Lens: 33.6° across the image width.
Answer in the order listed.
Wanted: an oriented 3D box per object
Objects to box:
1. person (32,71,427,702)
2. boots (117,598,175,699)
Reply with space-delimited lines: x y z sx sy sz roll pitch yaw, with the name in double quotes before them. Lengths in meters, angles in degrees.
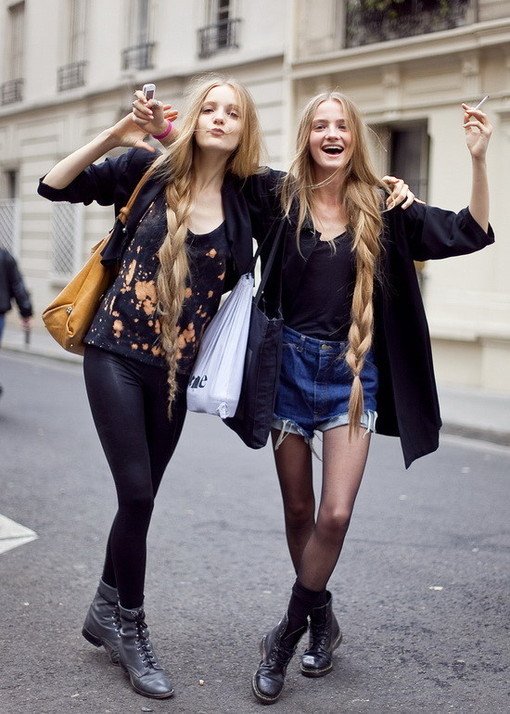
"person" -0.371 0.056 2.620 0.664 1.869 0.433 4 4 7
"boots" -0.343 0.917 2.614 0.112 0.216 0.287 -19 39 -31
